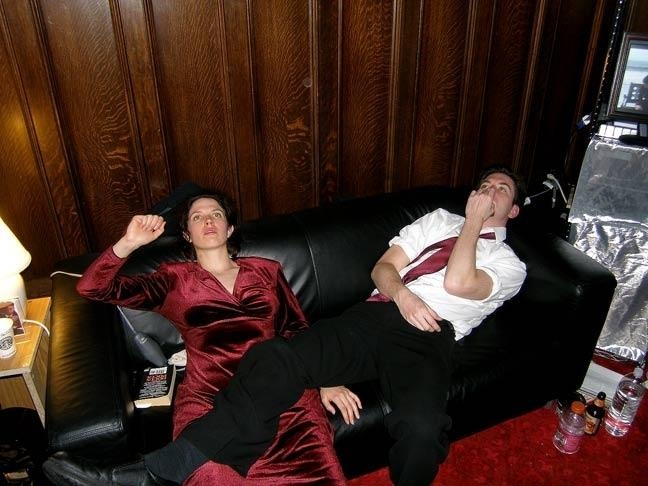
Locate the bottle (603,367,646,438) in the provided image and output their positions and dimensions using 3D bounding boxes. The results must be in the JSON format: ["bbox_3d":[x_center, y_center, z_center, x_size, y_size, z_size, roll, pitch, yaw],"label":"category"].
[{"bbox_3d":[1.487,0.808,2.175,0.114,0.296,0.168,23,35,38],"label":"bottle"}]

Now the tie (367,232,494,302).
[{"bbox_3d":[0.557,0.129,2.189,0.089,0.408,0.123,58,18,22],"label":"tie"}]

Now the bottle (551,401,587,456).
[{"bbox_3d":[1.195,0.914,2.130,0.111,0.269,0.113,-4,40,3],"label":"bottle"}]
